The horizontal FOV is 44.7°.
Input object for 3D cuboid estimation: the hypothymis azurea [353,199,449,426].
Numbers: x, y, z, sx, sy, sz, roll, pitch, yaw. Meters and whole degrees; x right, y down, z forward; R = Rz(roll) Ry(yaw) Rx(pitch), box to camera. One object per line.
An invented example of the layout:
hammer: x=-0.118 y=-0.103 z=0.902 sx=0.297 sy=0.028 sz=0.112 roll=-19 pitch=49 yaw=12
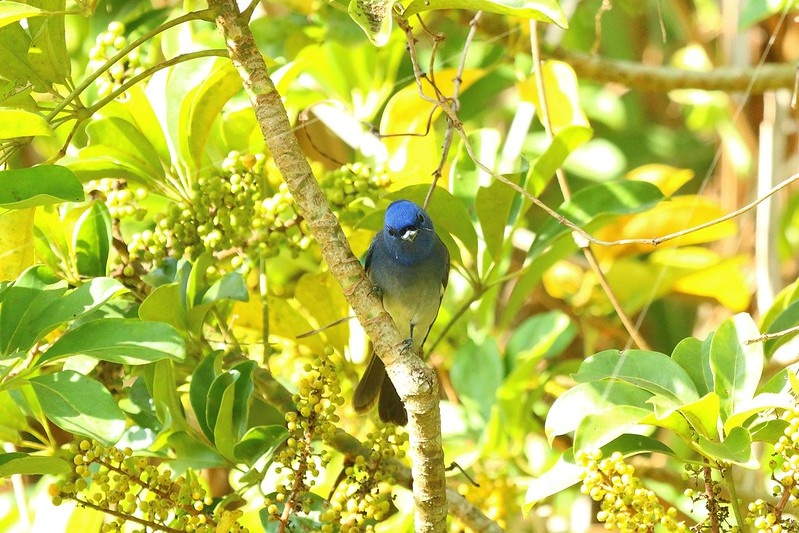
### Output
hypothymis azurea: x=0.021 y=0.141 z=3.688 sx=0.297 sy=0.904 sz=0.381 roll=1 pitch=32 yaw=-3
